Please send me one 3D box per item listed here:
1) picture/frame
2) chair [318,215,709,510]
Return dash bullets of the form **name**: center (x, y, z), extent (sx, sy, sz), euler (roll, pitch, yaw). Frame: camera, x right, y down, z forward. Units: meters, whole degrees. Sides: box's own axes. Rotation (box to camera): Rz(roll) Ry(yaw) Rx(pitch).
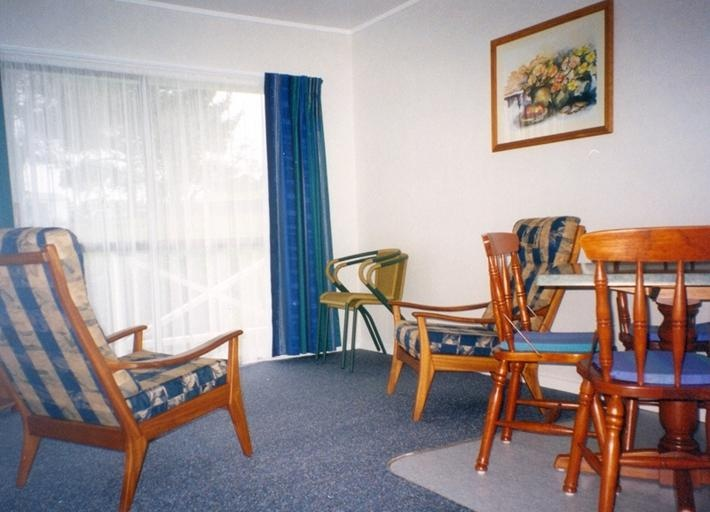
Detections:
- **picture/frame**: center (1.386, -1.243, 3.776), extent (0.050, 1.011, 1.169), euler (-1, -1, -42)
- **chair**: center (0.884, 0.470, 3.254), extent (1.378, 1.570, 1.206), euler (-2, -1, -8)
